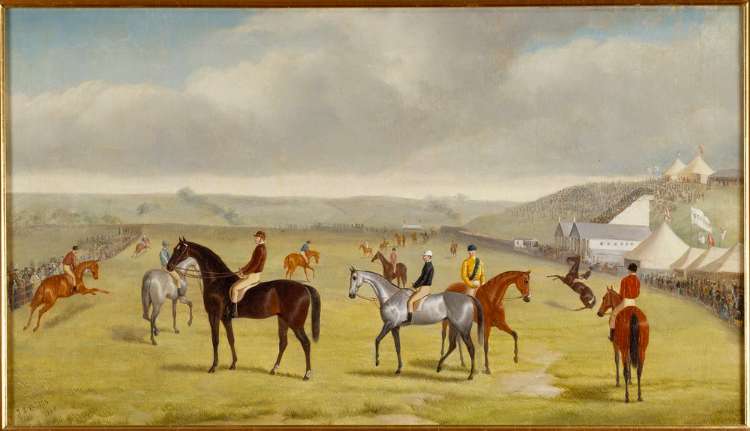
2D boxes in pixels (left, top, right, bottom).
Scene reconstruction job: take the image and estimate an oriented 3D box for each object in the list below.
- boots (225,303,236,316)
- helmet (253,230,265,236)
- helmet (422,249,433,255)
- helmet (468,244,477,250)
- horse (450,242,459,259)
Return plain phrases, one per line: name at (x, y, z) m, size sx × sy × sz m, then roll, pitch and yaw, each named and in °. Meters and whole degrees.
boots at (-3.126, 2.048, 20.519) m, size 0.272 × 0.304 × 0.117 m, roll -2°, pitch -5°, yaw 31°
helmet at (-2.471, 0.416, 20.559) m, size 0.158 × 0.096 × 0.227 m, roll 1°, pitch -22°, yaw 42°
helmet at (1.146, 0.827, 21.083) m, size 0.128 × 0.095 × 0.184 m, roll 1°, pitch -9°, yaw 6°
helmet at (2.078, 0.711, 20.582) m, size 0.133 × 0.125 × 0.183 m, roll 1°, pitch -19°, yaw -9°
horse at (1.830, 0.821, 22.284) m, size 0.172 × 0.351 × 0.257 m, roll 0°, pitch -4°, yaw 4°
